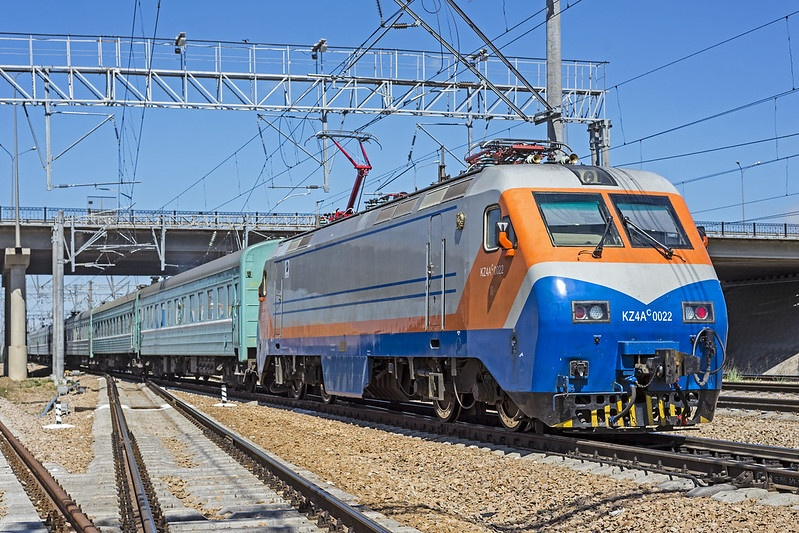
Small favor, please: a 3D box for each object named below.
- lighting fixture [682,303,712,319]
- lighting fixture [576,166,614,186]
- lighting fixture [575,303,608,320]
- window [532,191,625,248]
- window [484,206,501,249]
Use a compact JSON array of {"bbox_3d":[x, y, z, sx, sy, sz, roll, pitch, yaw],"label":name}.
[{"bbox_3d":[5.347,0.843,14.887,0.640,0.243,0.143,0,-1,-29],"label":"lighting fixture"},{"bbox_3d":[3.692,-1.658,15.681,0.742,0.241,0.322,0,-1,-23],"label":"lighting fixture"},{"bbox_3d":[3.334,0.802,14.489,0.618,0.220,0.036,0,0,-5],"label":"lighting fixture"},{"bbox_3d":[3.183,-0.782,15.088,1.291,0.945,0.052,3,-43,-10],"label":"window"},{"bbox_3d":[1.733,-0.662,15.818,0.069,0.762,0.406,5,8,29],"label":"window"}]
